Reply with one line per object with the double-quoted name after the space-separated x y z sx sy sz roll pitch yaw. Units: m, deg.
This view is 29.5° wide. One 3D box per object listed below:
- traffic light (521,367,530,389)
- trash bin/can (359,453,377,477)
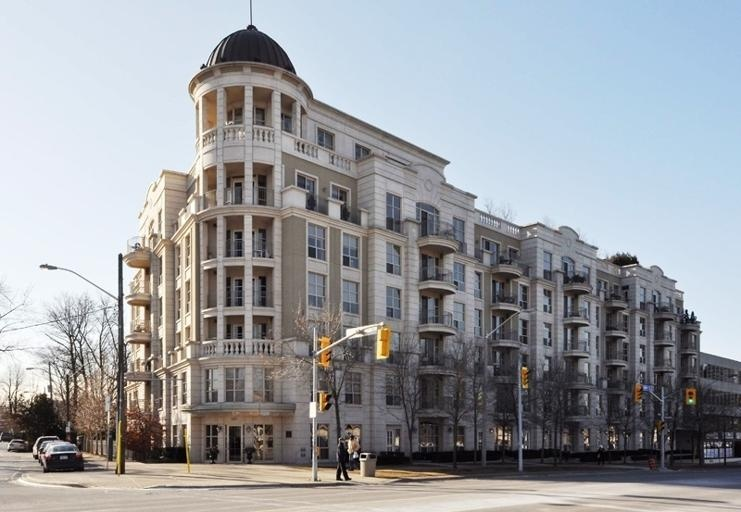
13.825 10.786 126.013 0.614 1.852 0.508 5 -17 -14 "traffic light"
-0.220 17.526 118.156 1.351 2.132 1.364 0 -16 -1 "trash bin/can"
